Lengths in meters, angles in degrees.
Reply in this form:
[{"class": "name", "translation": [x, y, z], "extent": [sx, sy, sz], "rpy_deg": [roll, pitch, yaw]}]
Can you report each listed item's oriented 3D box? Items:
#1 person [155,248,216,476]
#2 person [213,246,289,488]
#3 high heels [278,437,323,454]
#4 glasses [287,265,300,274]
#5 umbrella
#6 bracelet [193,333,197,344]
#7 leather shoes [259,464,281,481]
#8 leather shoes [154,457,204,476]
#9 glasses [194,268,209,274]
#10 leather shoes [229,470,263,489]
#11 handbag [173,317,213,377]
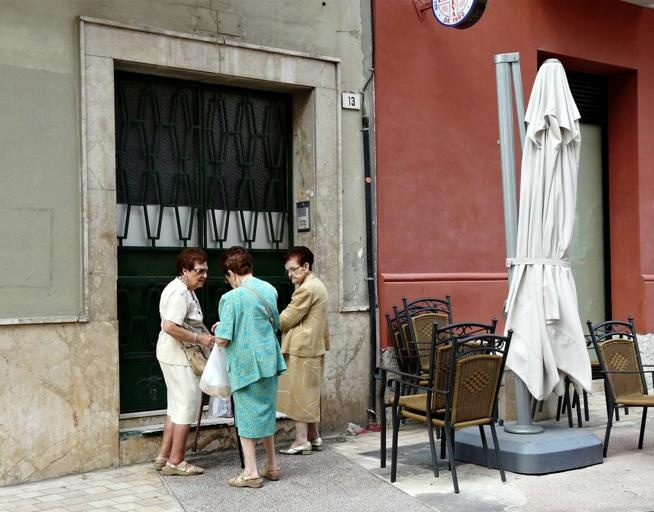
[{"class": "person", "translation": [-1.319, 0.963, 8.088], "extent": [0.609, 2.052, 0.418], "rpy_deg": [-2, -2, -1]}, {"class": "person", "translation": [-0.666, 0.959, 7.678], "extent": [0.573, 2.099, 0.275], "rpy_deg": [-2, -2, -4]}, {"class": "high heels", "translation": [-0.241, 1.876, 8.703], "extent": [0.283, 0.118, 0.173], "rpy_deg": [1, -6, 3]}, {"class": "glasses", "translation": [-0.344, 0.133, 8.611], "extent": [0.076, 0.029, 0.081], "rpy_deg": [-7, 9, 35]}, {"class": "umbrella", "translation": [2.010, -0.281, 8.256], "extent": [0.787, 3.163, 0.482], "rpy_deg": [-3, -2, 6]}, {"class": "bracelet", "translation": [-1.193, 0.742, 7.969], "extent": [0.024, 0.070, 0.018], "rpy_deg": [-2, -2, -13]}, {"class": "leather shoes", "translation": [-0.512, 1.924, 7.878], "extent": [0.082, 0.103, 0.219], "rpy_deg": [0, 0, -20]}, {"class": "leather shoes", "translation": [-1.349, 1.903, 8.081], "extent": [0.390, 0.182, 0.160], "rpy_deg": [1, -3, -5]}, {"class": "glasses", "translation": [-1.148, 0.134, 8.016], "extent": [0.104, 0.046, 0.030], "rpy_deg": [-1, -3, -39]}, {"class": "leather shoes", "translation": [-0.717, 1.941, 7.762], "extent": [0.271, 0.132, 0.125], "rpy_deg": [1, -3, 28]}, {"class": "handbag", "translation": [-1.230, 0.830, 8.072], "extent": [0.160, 0.481, 0.342], "rpy_deg": [-4, 5, -11]}]
